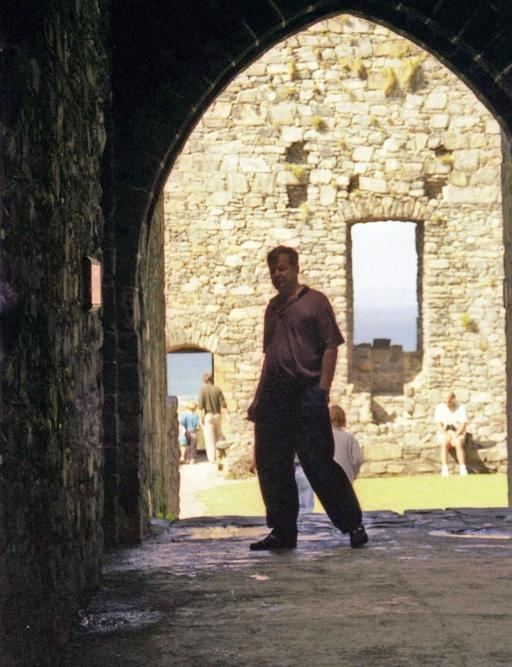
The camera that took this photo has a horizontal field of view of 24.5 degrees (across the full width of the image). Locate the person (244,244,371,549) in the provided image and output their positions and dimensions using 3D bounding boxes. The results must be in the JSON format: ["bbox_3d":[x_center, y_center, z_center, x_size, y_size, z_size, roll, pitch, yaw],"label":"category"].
[{"bbox_3d":[0.187,0.262,4.724,0.453,1.210,0.218,-3,-3,3],"label":"person"}]

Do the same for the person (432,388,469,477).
[{"bbox_3d":[2.118,1.107,12.702,0.346,0.879,0.592,-3,-3,8],"label":"person"}]

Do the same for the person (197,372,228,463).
[{"bbox_3d":[-0.451,0.938,12.392,0.281,0.970,0.616,-2,-3,-3],"label":"person"}]

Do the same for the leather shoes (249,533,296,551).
[{"bbox_3d":[0.067,0.836,4.662,0.202,0.077,0.067,4,-10,-6],"label":"leather shoes"}]
